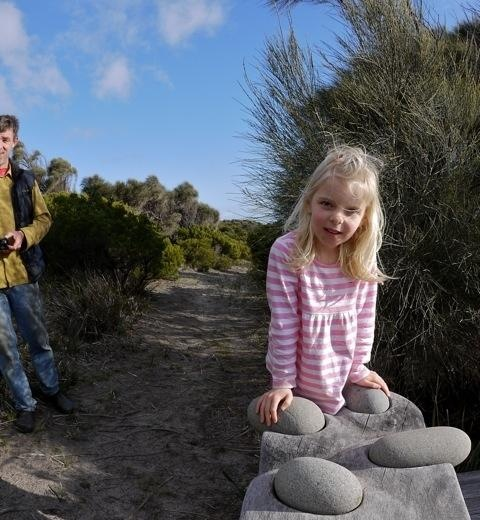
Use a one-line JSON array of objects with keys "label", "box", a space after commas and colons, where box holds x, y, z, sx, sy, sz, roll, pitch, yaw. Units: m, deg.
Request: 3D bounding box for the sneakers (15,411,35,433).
[{"label": "sneakers", "box": [-1.483, 1.096, 3.077, 0.083, 0.087, 0.213, 7, -6, -29]}]

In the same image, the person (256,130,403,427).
[{"label": "person", "box": [0.397, 0.089, 2.078, 0.656, 1.218, 0.346, 1, 12, -23]}]

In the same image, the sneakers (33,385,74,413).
[{"label": "sneakers", "box": [-1.428, 1.046, 3.402, 0.317, 0.098, 0.122, 20, -25, 13]}]
